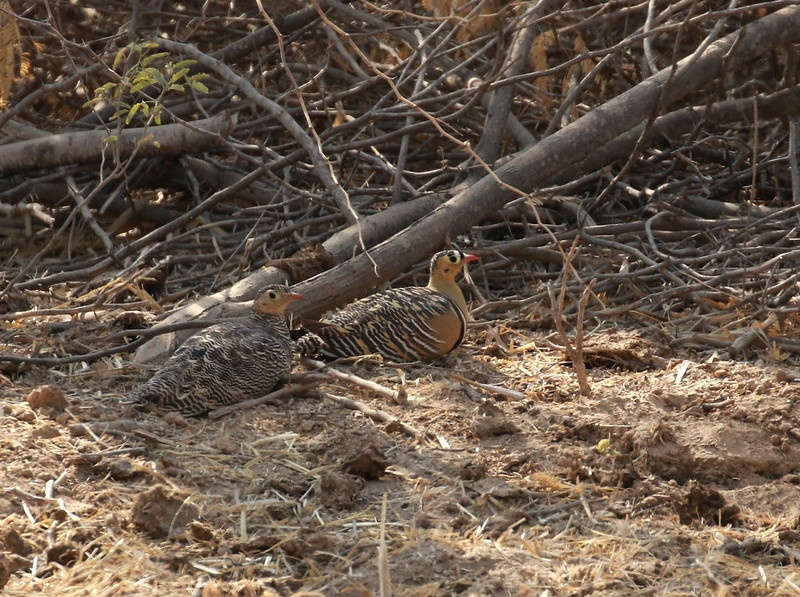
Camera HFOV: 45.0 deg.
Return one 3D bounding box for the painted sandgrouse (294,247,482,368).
[{"bbox_3d":[-0.089,0.082,6.318,1.264,0.607,0.613,-10,28,-16],"label":"painted sandgrouse"}]
